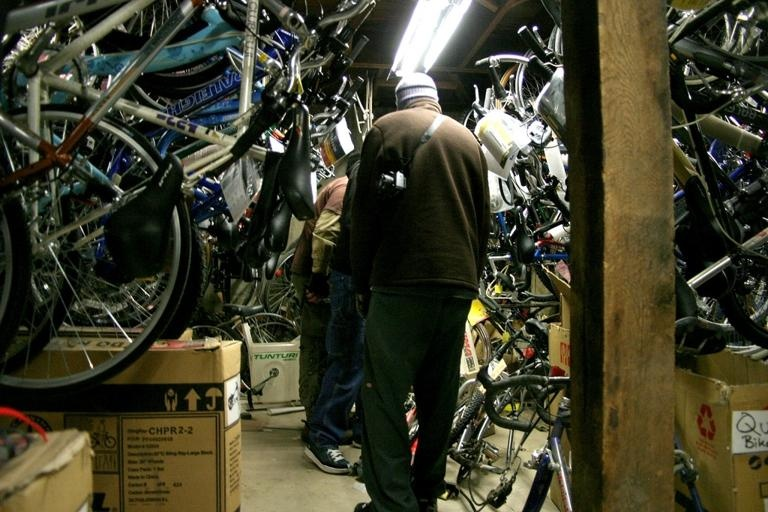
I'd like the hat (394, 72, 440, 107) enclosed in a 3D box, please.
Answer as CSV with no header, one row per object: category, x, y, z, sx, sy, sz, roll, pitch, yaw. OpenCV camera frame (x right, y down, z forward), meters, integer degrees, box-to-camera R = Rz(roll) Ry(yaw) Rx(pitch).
hat,0.178,-0.884,3.788,0.185,0.150,0.195,6,8,26

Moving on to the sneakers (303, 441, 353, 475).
sneakers,-0.343,1.184,4.183,0.361,0.156,0.137,19,7,39

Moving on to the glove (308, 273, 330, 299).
glove,-0.419,0.210,4.571,0.160,0.162,0.280,4,-7,-5
